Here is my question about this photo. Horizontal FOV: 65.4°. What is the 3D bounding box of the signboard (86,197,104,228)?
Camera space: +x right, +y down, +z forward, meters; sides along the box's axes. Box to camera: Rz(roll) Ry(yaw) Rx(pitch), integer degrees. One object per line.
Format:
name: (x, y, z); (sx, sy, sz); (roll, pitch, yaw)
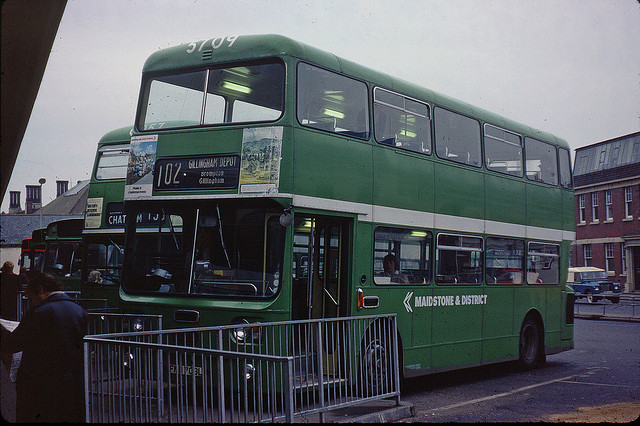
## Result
signboard: (-7.387, 0.009, 16.413); (0.875, 1.207, 0.090); (-6, -15, 26)

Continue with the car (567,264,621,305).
car: (21.804, 5.841, 40.455); (2.864, 2.615, 4.973); (-1, -7, -9)
